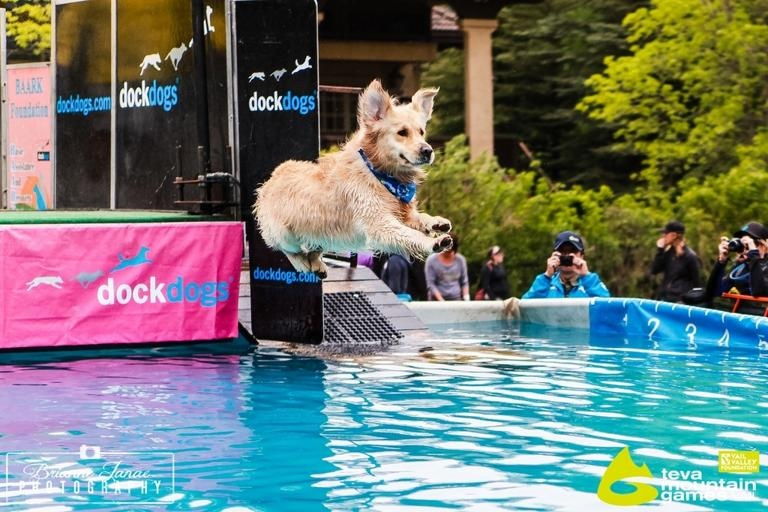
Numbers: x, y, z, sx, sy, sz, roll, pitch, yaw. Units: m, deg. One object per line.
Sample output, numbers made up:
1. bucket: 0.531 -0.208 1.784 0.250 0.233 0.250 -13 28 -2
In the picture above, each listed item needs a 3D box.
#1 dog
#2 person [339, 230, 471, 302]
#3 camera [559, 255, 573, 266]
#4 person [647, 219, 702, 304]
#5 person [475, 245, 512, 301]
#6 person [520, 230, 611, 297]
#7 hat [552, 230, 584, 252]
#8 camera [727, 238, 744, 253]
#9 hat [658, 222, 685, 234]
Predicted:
1. dog: -0.349 -0.739 12.033 2.924 1.959 1.066 0 2 44
2. person: 0.065 0.262 16.525 2.580 1.323 0.749 2 -7 -22
3. camera: 2.366 0.056 14.186 0.186 0.129 0.141 1 1 5
4. person: 4.097 0.059 15.433 0.572 1.094 0.855 0 1 -19
5. person: 1.689 0.254 16.968 0.518 0.798 1.019 1 2 5
6. person: 2.790 0.110 17.264 1.304 1.570 0.580 1 -3 2
7. hat: 2.399 -0.189 14.199 0.390 0.249 0.337 0 2 -33
8. camera: 4.269 -0.134 13.312 0.205 0.121 0.151 8 -13 37
9. hat: 4.080 -0.401 15.430 0.243 0.119 0.172 14 6 8
